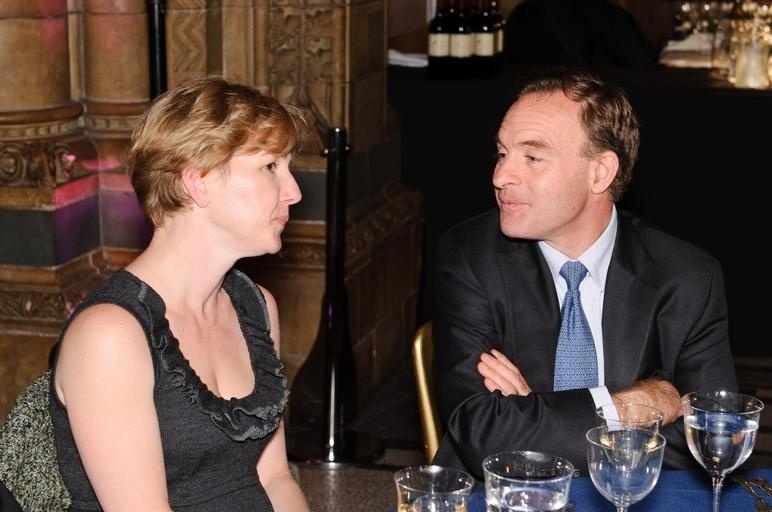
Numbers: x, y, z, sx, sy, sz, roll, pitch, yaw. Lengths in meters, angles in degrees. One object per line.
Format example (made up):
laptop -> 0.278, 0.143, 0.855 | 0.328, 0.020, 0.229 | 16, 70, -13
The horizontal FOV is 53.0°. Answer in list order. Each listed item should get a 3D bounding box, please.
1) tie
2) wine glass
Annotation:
tie -> 0.612, 0.231, 2.507 | 0.127, 0.394, 0.076 | 4, -18, 6
wine glass -> 0.784, 0.472, 1.830 | 0.167, 0.271, 0.173 | 3, 11, 25
